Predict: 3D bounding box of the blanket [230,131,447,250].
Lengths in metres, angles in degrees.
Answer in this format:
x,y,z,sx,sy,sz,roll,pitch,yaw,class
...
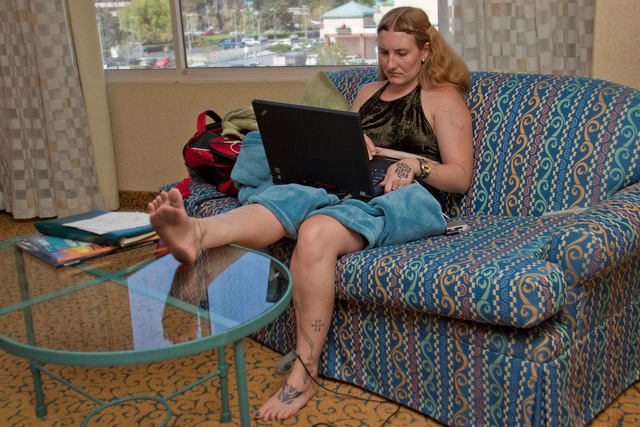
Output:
x,y,z,sx,sy,sz,roll,pitch,yaw,class
0.092,-0.064,1.942,0.642,0.234,0.467,2,9,-8,blanket

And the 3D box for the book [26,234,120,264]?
x,y,z,sx,sy,sz,roll,pitch,yaw,class
-0.908,0.126,1.737,0.364,0.045,0.140,2,18,19,book

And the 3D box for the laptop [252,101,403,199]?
x,y,z,sx,sy,sz,roll,pitch,yaw,class
0.024,-0.356,1.979,0.467,0.354,0.446,13,27,32,laptop

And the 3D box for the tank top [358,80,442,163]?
x,y,z,sx,sy,sz,roll,pitch,yaw,class
0.370,-0.472,2.280,0.261,0.391,0.505,-18,24,-36,tank top

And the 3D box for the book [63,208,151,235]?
x,y,z,sx,sy,sz,roll,pitch,yaw,class
-0.786,0.029,1.850,0.170,0.028,0.185,12,20,39,book

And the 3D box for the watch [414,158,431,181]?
x,y,z,sx,sy,sz,roll,pitch,yaw,class
0.421,-0.182,2.006,0.028,0.070,0.070,-13,55,-19,watch
